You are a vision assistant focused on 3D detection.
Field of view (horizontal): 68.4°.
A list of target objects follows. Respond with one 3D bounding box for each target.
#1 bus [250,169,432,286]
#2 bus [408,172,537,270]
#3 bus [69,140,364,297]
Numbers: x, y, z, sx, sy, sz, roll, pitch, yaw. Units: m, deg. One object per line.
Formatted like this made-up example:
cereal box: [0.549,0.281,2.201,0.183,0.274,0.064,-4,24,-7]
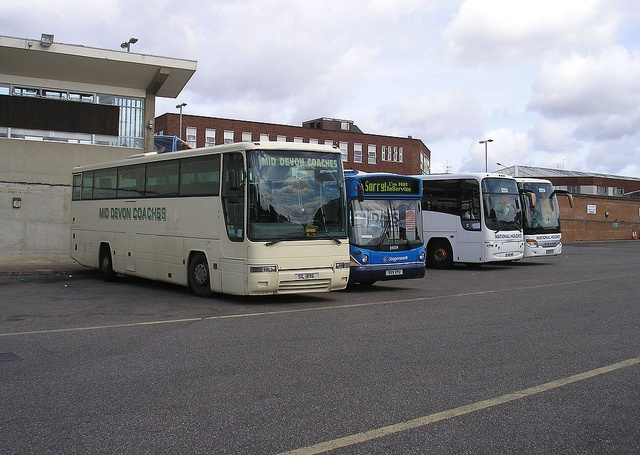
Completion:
bus: [1.613,0.024,17.680,2.765,3.540,5.401,0,-1,-14]
bus: [5.504,-0.264,25.825,3.245,5.014,10.335,2,-3,-39]
bus: [-4.784,-0.266,15.868,12.527,4.397,2.731,0,0,40]
